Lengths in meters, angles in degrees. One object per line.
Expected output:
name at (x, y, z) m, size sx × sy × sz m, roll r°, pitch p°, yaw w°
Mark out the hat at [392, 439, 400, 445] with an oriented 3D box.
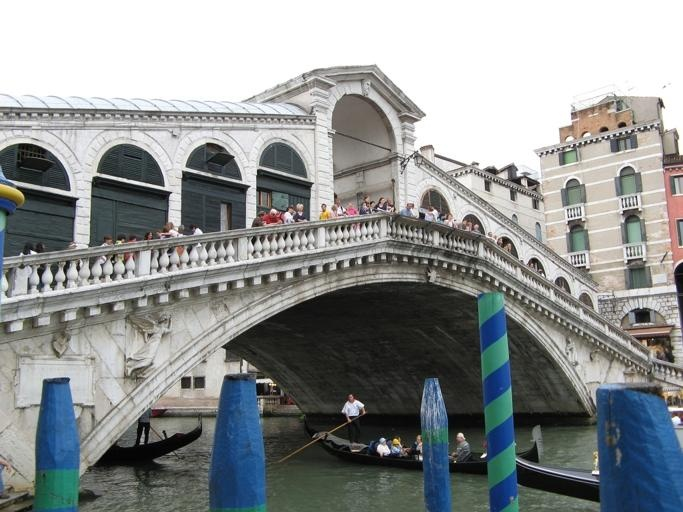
hat at (1.934, 6.481, 36.027) m, size 0.213 × 0.210 × 0.214 m, roll 0°, pitch -6°, yaw -21°
